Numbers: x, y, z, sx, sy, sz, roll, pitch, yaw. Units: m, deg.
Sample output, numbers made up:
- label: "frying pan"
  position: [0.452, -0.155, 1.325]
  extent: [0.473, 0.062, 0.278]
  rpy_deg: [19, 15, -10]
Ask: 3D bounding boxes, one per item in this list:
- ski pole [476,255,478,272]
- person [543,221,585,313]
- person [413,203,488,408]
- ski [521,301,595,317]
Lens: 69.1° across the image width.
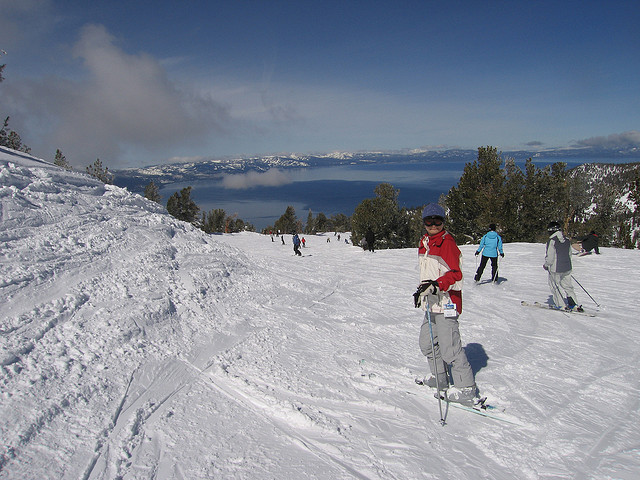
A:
- label: "ski pole"
  position: [6.729, 0.983, 19.879]
  extent: [0.070, 0.734, 0.096]
  rpy_deg: [2, -13, 6]
- label: "person"
  position: [7.183, 0.734, 13.602]
  extent: [1.024, 2.544, 1.227]
  rpy_deg: [4, 5, 29]
- label: "person"
  position: [2.583, 1.285, 9.398]
  extent: [1.246, 4.065, 1.061]
  rpy_deg: [3, 4, 17]
- label: "ski"
  position: [6.979, 1.996, 13.529]
  extent: [0.216, 0.139, 1.618]
  rpy_deg: [-27, 20, -33]
